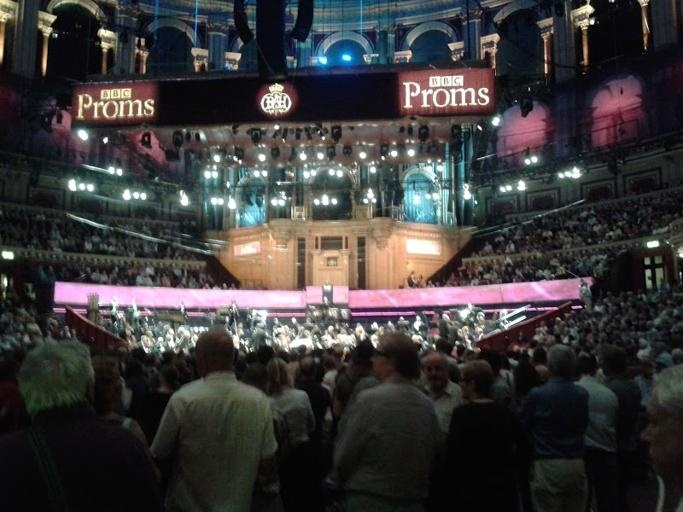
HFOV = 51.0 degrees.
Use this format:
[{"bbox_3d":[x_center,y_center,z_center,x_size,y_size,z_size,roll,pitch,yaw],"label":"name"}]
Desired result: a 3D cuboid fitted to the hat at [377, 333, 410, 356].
[{"bbox_3d":[0.557,0.902,7.461,0.381,0.212,0.258,0,-4,-6],"label":"hat"}]
